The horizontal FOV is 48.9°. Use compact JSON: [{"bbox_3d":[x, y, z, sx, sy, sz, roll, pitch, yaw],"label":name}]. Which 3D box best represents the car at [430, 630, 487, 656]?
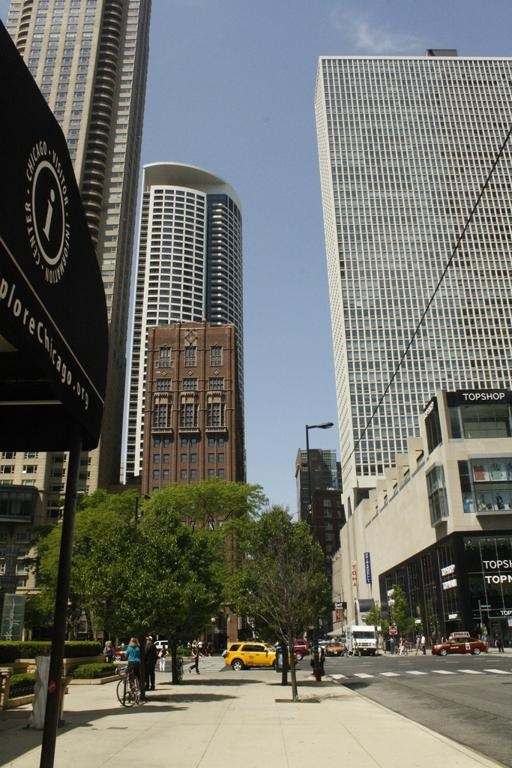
[{"bbox_3d":[16.140,20.714,44.705,3.865,1.446,2.795,4,-22,-13],"label":"car"}]
